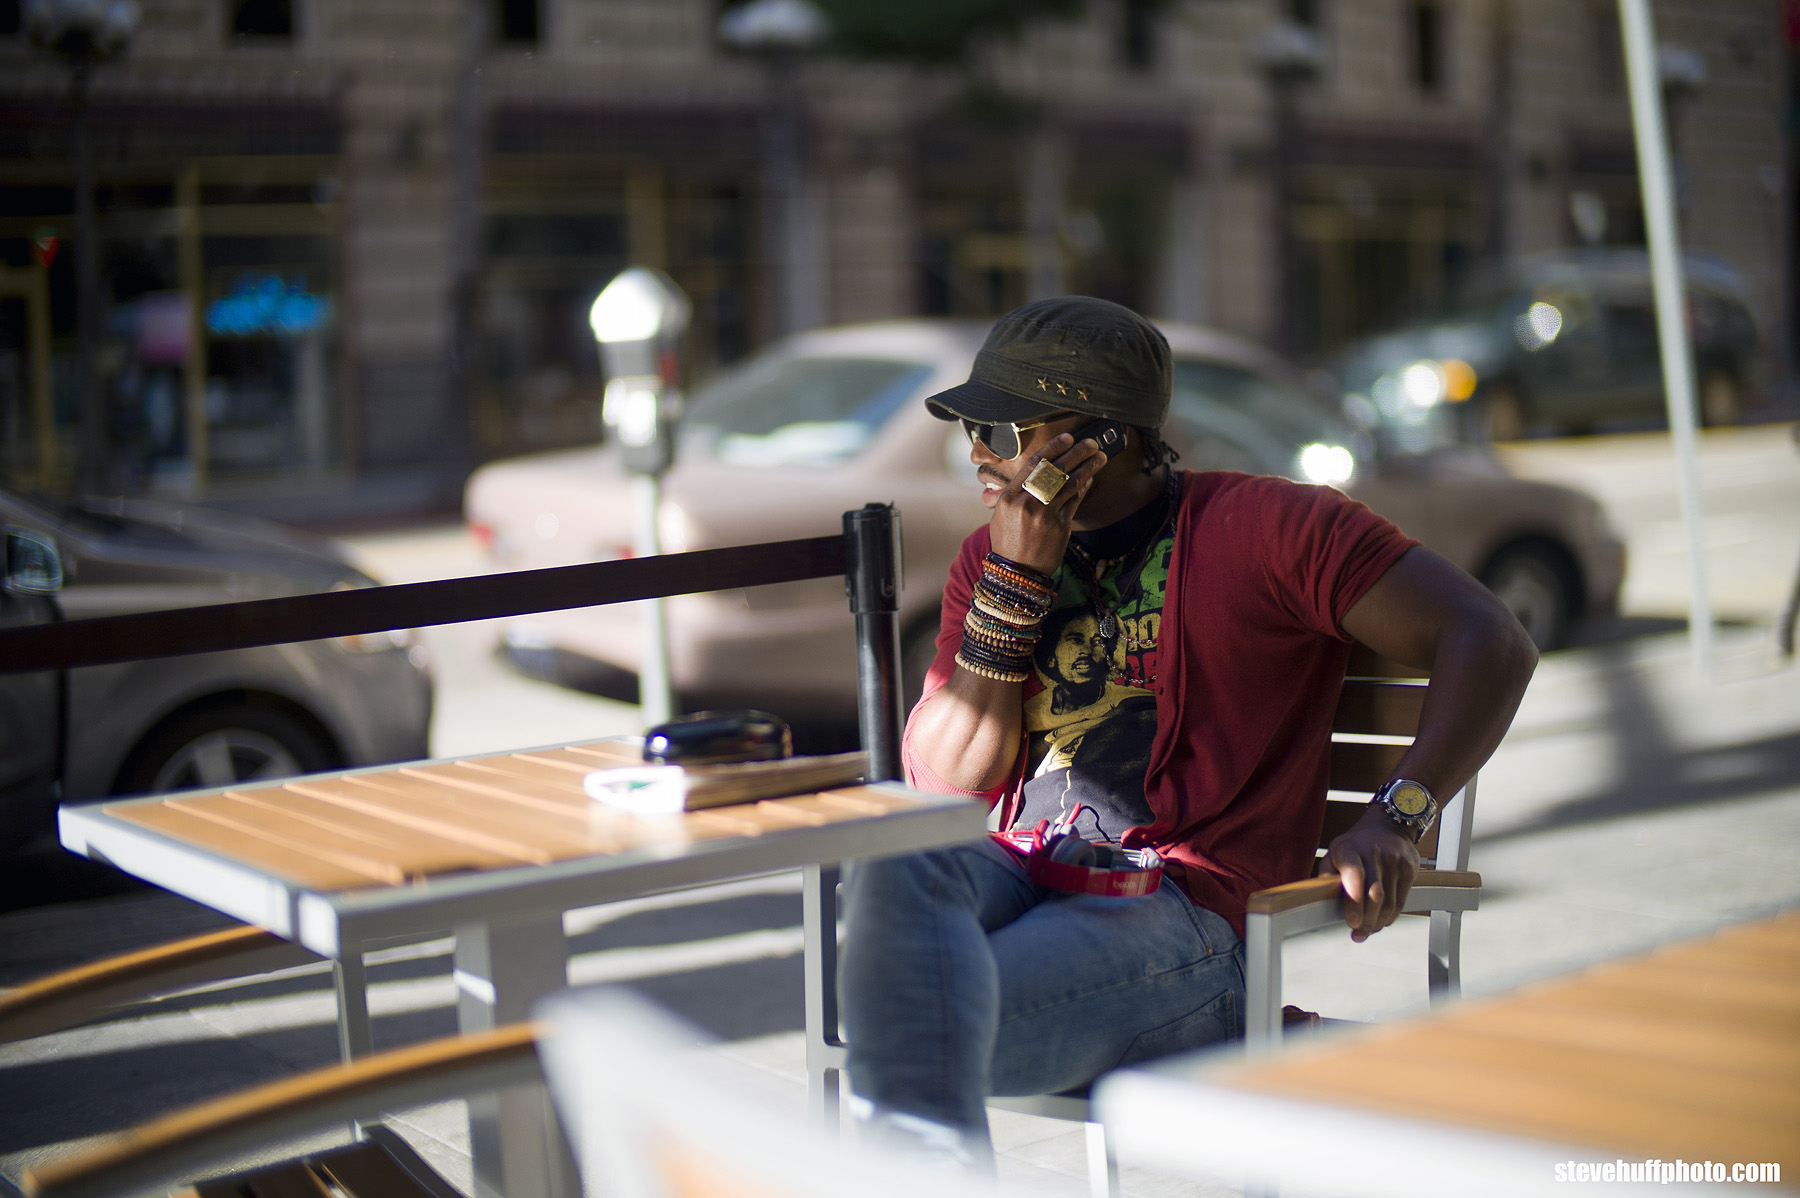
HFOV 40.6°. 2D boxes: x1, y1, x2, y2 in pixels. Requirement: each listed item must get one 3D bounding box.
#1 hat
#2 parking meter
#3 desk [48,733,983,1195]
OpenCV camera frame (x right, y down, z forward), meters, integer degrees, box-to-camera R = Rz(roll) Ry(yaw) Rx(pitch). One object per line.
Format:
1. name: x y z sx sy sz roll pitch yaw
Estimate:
1. hat: 0.414 -0.553 6.000 0.439 0.240 0.327 3 1 -3
2. parking meter: -0.985 -0.291 9.416 0.389 1.930 0.395 -1 -4 -15
3. desk: -1.023 0.570 5.531 1.285 0.861 1.283 -7 10 -36
